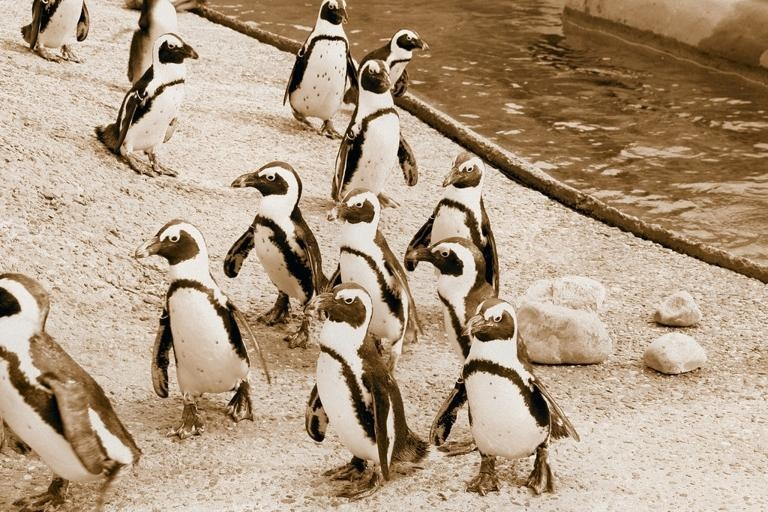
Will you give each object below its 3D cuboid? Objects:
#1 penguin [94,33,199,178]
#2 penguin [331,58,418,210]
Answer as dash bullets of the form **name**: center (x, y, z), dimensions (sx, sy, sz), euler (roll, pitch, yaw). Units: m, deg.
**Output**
- **penguin**: center (-1.968, -1.238, 10.643), dimensions (0.671, 1.268, 0.655), euler (-21, 57, -37)
- **penguin**: center (-0.131, -1.032, 10.697), dimensions (0.789, 1.333, 0.863), euler (15, 29, 28)
